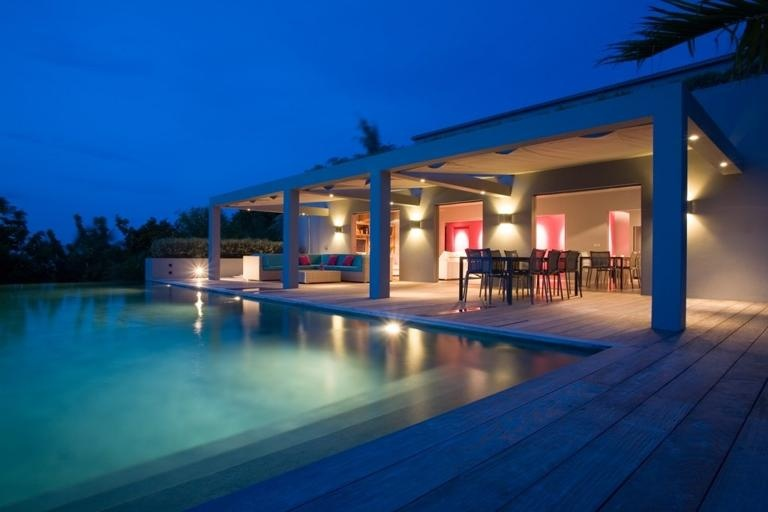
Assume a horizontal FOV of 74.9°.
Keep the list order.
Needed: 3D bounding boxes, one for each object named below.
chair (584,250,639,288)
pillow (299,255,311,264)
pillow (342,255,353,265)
[{"bbox_3d":[5.791,0.348,12.736,1.033,0.661,0.999,0,0,-44],"label":"chair"},{"bbox_3d":[-2.349,0.118,14.730,0.283,0.258,0.082,5,-4,-6],"label":"pillow"},{"bbox_3d":[-1.040,0.129,14.276,0.234,0.254,0.287,1,-10,-8],"label":"pillow"}]
